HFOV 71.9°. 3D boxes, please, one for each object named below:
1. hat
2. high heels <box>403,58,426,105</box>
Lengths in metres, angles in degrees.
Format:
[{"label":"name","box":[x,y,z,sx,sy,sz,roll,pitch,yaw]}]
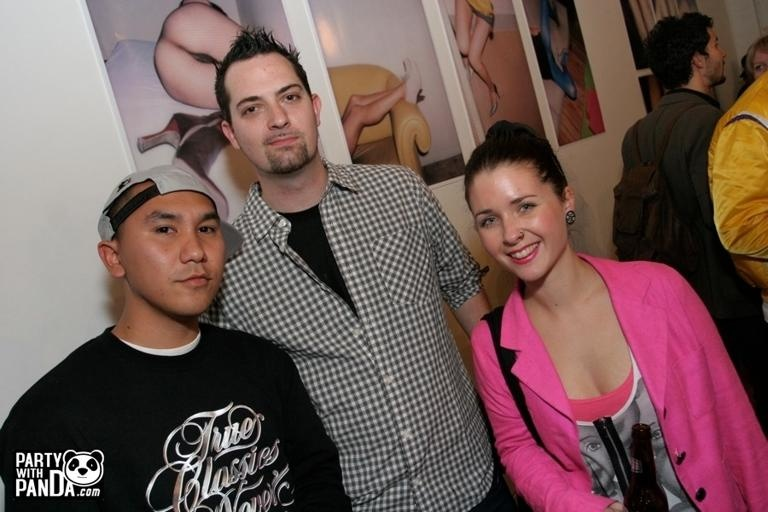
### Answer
[{"label":"hat","box":[-0.776,-0.187,1.948,0.486,0.277,0.338,5,-26,-32]},{"label":"high heels","box":[0.189,-1.091,3.298,0.093,0.318,0.111,-5,2,-35]}]
